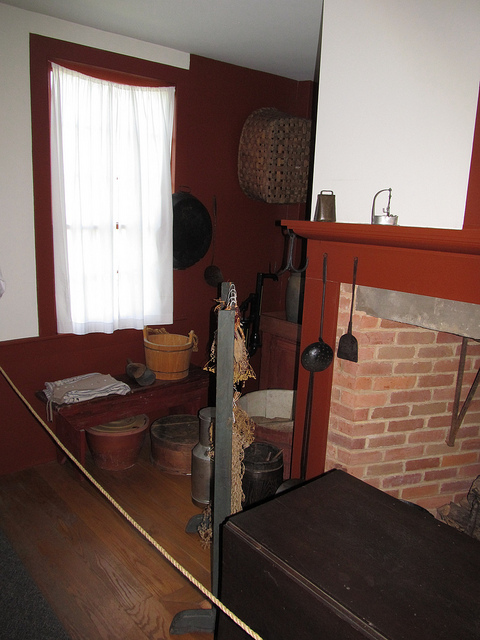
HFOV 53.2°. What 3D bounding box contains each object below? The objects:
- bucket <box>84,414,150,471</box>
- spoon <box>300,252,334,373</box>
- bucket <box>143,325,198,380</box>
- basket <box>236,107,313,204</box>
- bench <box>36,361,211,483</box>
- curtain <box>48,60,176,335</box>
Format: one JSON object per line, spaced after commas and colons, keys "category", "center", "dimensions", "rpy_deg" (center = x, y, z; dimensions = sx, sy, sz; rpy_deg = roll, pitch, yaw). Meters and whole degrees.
{"category": "bucket", "center": [-0.722, 0.718, 2.795], "dimensions": [0.271, 0.282, 0.317], "rpy_deg": [3, 15, 6]}
{"category": "spoon", "center": [0.335, -0.023, 2.005], "dimensions": [0.137, 0.511, 0.058], "rpy_deg": [4, 8, 13]}
{"category": "bucket", "center": [-0.455, 0.199, 3.050], "dimensions": [0.350, 0.307, 0.329], "rpy_deg": [3, 10, 0]}
{"category": "basket", "center": [0.219, -1.061, 3.059], "dimensions": [0.537, 0.619, 0.351], "rpy_deg": [7, 10, 24]}
{"category": "bench", "center": [-0.728, 0.500, 2.924], "dimensions": [0.909, 0.529, 0.325], "rpy_deg": [-25, 19, -39]}
{"category": "curtain", "center": [-0.725, -0.656, 2.822], "dimensions": [0.745, 1.473, 0.140], "rpy_deg": [-4, 10, -36]}
